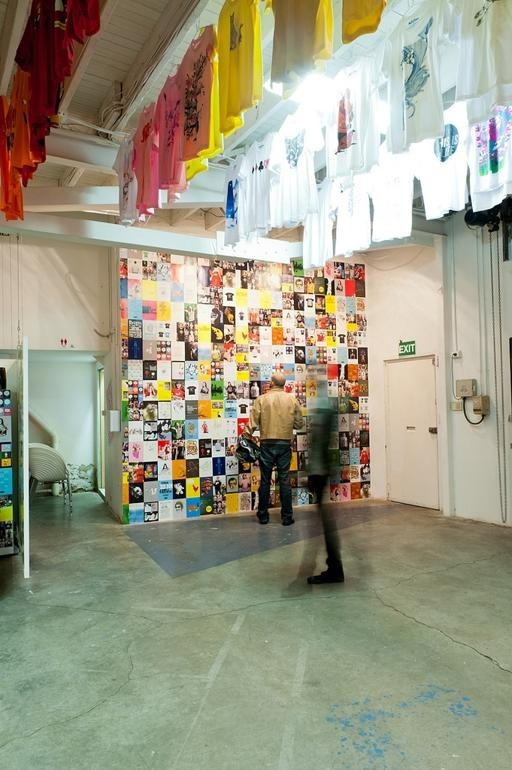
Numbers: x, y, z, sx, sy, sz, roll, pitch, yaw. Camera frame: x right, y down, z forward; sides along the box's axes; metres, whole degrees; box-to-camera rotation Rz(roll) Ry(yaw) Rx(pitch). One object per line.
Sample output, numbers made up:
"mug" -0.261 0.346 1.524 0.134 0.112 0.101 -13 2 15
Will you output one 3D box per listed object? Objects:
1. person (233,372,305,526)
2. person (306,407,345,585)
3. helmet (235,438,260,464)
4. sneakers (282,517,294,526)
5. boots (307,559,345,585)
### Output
"person" 0.164 0.715 6.181 0.550 1.677 0.709 1 -3 -31
"person" 0.485 0.771 3.907 0.245 1.284 0.420 -1 -3 9
"helmet" -0.113 0.794 6.526 0.164 0.365 0.297 -6 -13 33
"sneakers" 0.348 1.485 5.990 0.133 0.083 0.278 -1 -3 4
"boots" 0.460 1.328 3.881 0.307 0.216 0.114 2 -8 -1
